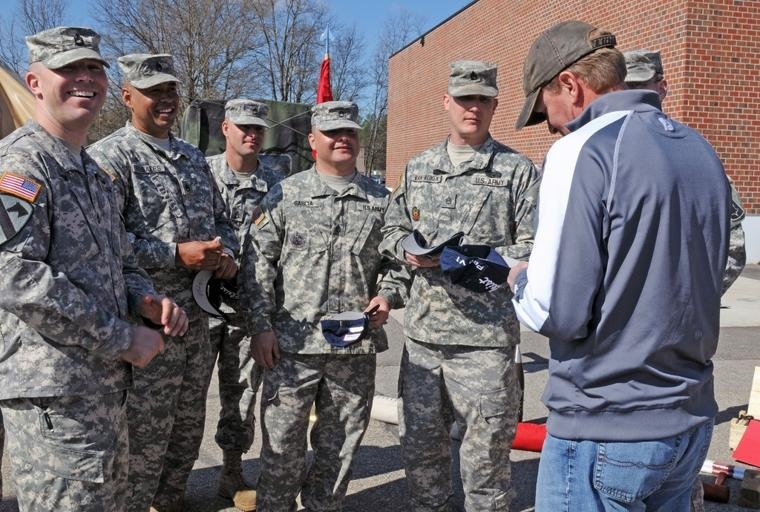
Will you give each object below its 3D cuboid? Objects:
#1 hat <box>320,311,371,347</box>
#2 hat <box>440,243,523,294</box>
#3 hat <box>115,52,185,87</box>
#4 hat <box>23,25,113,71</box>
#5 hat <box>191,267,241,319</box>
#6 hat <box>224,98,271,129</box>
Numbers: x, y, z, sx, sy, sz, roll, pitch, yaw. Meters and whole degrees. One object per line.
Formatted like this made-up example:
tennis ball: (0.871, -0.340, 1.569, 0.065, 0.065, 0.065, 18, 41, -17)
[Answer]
hat: (-0.222, 0.451, 4.915, 0.281, 0.222, 0.217, -1, 1, -1)
hat: (0.572, 0.057, 4.625, 0.386, 0.241, 0.229, 8, -40, 3)
hat: (-1.413, -1.136, 5.063, 0.326, 0.135, 0.400, 3, -7, -34)
hat: (-1.617, -1.071, 4.229, 0.465, 0.175, 0.415, 0, 9, 37)
hat: (-1.069, 0.236, 5.123, 0.251, 0.311, 0.109, -30, 21, -38)
hat: (-1.104, -1.138, 6.462, 0.268, 0.133, 0.294, 0, 0, -45)
